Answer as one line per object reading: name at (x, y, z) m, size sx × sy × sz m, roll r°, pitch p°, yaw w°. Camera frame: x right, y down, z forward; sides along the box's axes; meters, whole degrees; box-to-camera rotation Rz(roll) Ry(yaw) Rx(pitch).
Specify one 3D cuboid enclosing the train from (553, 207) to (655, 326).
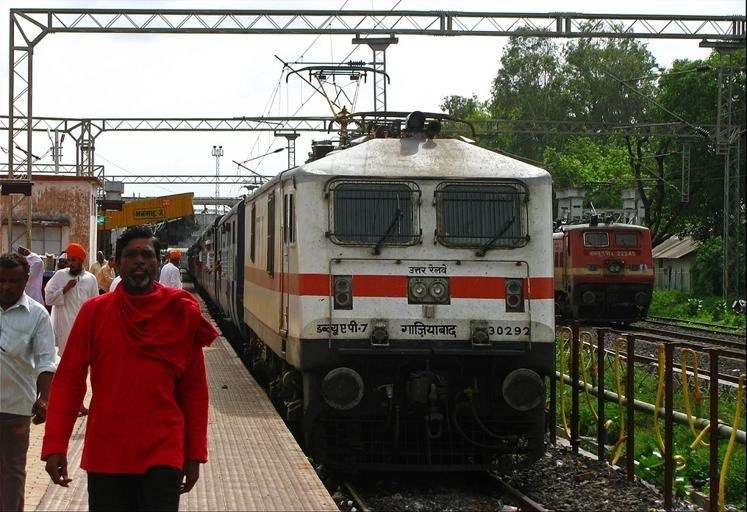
train at (7.302, 0.391, 25.289) m, size 2.911 × 3.379 × 1.937 m, roll 0°, pitch 1°, yaw 17°
